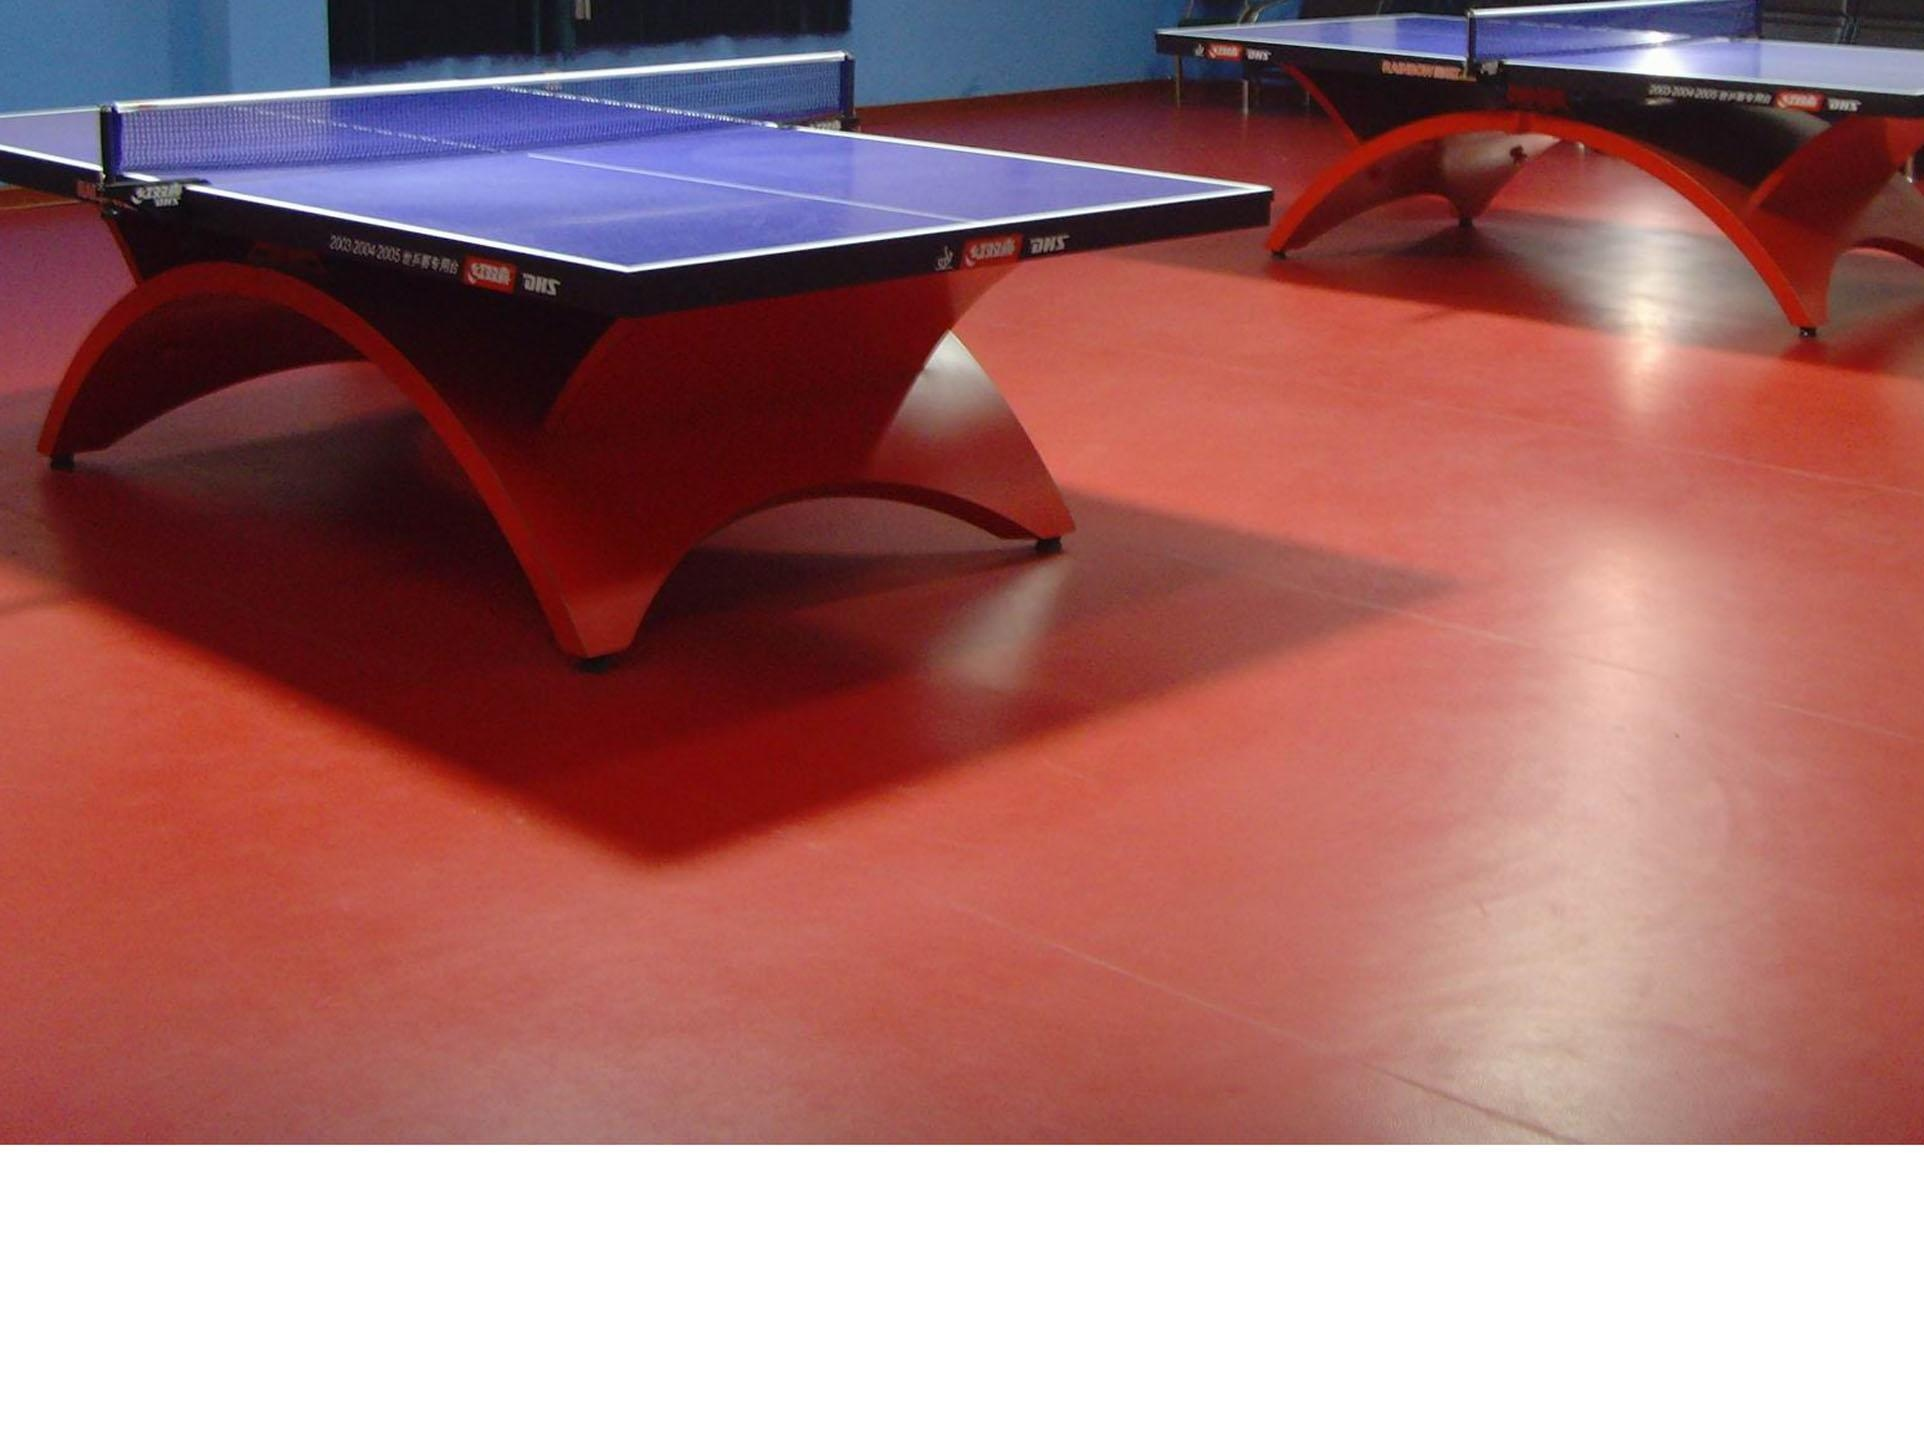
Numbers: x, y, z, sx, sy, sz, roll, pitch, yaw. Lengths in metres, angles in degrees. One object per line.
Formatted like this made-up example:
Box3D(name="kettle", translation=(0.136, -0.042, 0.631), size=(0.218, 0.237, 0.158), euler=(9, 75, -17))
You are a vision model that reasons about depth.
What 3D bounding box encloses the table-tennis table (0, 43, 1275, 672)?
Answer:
Box3D(name="table-tennis table", translation=(-0.688, -0.821, 3.411), size=(2.466, 0.823, 1.348), euler=(19, 30, 30))
